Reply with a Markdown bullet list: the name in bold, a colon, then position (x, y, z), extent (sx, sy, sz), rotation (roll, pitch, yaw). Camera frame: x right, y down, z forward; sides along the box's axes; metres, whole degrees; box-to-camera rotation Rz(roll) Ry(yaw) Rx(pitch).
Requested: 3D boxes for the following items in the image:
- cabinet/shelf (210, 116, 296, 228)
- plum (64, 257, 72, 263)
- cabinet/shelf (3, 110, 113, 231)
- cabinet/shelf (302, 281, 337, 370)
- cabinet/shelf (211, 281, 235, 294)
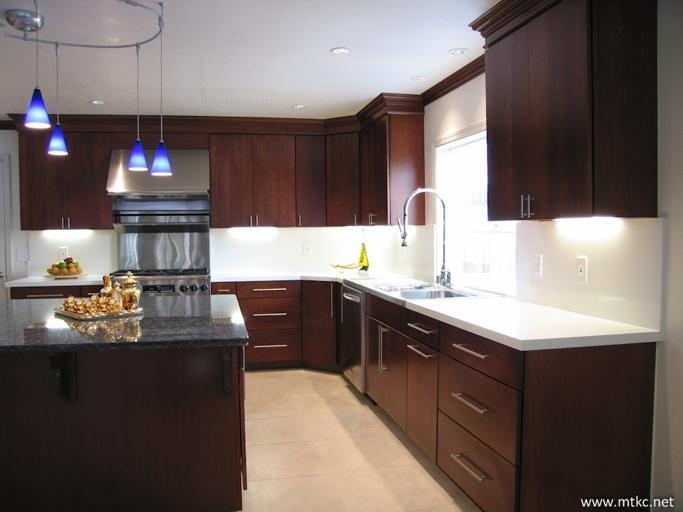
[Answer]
- **cabinet/shelf**: position (-0.955, -0.890, 5.652), extent (0.979, 1.194, 0.429), rotation (1, 2, -7)
- **plum**: position (-2.765, 0.042, 5.564), extent (0.064, 0.071, 0.064), rotation (8, 26, 42)
- **cabinet/shelf**: position (-2.681, -0.837, 5.281), extent (1.000, 1.345, 0.602), rotation (0, -2, -17)
- **cabinet/shelf**: position (-0.228, 0.644, 5.437), extent (0.428, 0.795, 0.117), rotation (5, 10, 35)
- **cabinet/shelf**: position (-1.154, 0.313, 5.396), extent (0.187, 0.196, 0.113), rotation (0, 1, -15)
